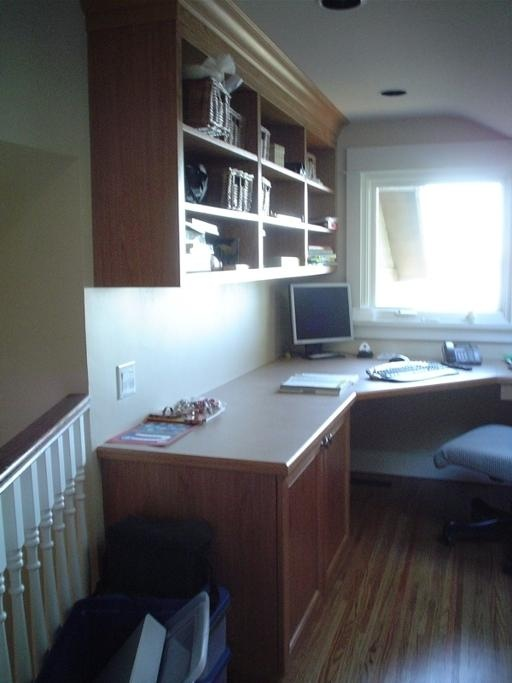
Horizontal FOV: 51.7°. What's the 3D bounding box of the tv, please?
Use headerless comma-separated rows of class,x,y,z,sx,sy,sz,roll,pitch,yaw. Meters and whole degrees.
tv,0.390,-0.137,3.169,0.319,0.444,0.129,-6,4,-38

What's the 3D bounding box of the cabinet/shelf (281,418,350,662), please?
cabinet/shelf,0.193,0.664,1.745,0.156,0.530,0.510,0,18,14

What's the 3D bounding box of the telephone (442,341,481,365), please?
telephone,1.123,0.067,2.871,0.100,0.081,0.169,5,9,12
